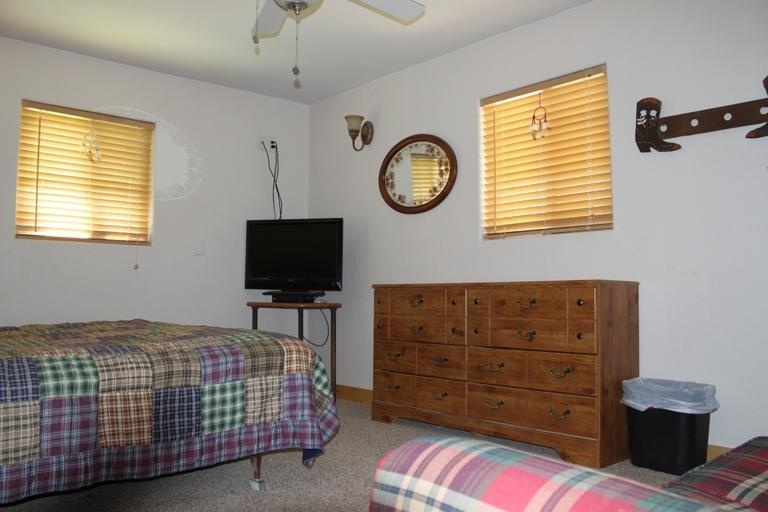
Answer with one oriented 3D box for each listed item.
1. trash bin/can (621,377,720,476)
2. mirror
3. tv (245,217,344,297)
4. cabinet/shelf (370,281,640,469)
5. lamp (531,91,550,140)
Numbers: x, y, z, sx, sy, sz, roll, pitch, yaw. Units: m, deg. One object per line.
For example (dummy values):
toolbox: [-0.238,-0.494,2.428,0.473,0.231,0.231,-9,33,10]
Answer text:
trash bin/can: [1.766,1.029,3.430,0.479,0.497,0.555,-7,4,-37]
mirror: [0.322,-0.710,4.792,0.724,0.727,0.050,-5,-7,42]
tv: [-0.816,0.004,5.118,0.726,0.537,0.200,0,-2,12]
cabinet/shelf: [0.830,0.724,3.464,1.170,0.722,0.421,-3,-6,41]
lamp: [1.188,-1.073,4.223,0.121,0.357,0.045,0,2,15]
